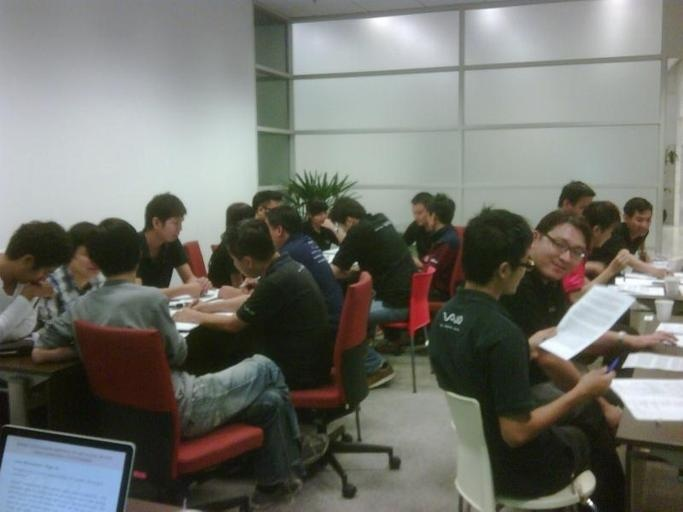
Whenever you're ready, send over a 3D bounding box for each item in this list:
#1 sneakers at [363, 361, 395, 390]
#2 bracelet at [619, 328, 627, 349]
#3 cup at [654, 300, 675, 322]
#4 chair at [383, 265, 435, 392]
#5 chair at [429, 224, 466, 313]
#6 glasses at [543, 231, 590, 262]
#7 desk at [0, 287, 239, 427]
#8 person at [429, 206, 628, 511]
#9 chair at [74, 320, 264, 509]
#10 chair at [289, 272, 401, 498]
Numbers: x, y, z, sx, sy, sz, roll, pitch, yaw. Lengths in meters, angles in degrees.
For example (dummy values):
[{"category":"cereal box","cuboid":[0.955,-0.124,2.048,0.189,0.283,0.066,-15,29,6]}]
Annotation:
[{"category":"sneakers","cuboid":[0.303,0.922,4.416,0.131,0.181,0.416,-4,-2,25]},{"category":"bracelet","cuboid":[1.396,0.416,2.861,0.034,0.065,0.061,-11,6,21]},{"category":"cup","cuboid":[1.866,0.311,3.334,0.115,0.139,0.120,3,0,0]},{"category":"chair","cuboid":[0.435,0.633,4.649,0.438,0.879,0.444,-9,1,16]},{"category":"chair","cuboid":[0.973,0.027,5.220,0.379,0.514,0.340,5,53,23]},{"category":"glasses","cuboid":[1.070,-0.076,2.803,0.135,0.044,0.142,24,19,-25]},{"category":"desk","cuboid":[-0.940,0.396,2.510,0.622,0.659,0.652,4,8,24]},{"category":"person","cuboid":[0.745,0.428,2.229,0.723,1.209,0.436,-5,10,-22]},{"category":"chair","cuboid":[-0.800,0.554,2.658,0.696,0.950,0.702,2,3,41]},{"category":"chair","cuboid":[-0.075,0.646,3.487,0.861,1.396,0.856,0,1,13]}]
